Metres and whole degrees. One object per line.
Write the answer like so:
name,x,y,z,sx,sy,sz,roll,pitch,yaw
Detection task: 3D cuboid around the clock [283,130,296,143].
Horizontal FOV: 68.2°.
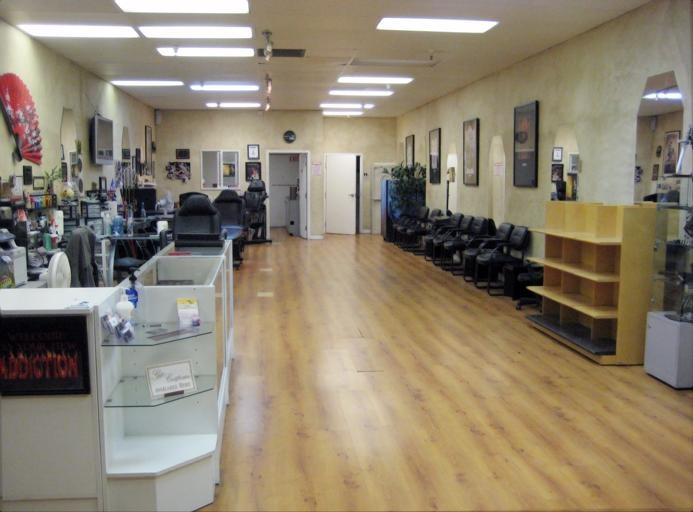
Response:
clock,-1.551,-3.242,13.951,0.330,0.361,0.063,-3,11,-17

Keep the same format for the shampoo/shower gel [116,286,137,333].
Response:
shampoo/shower gel,-1.393,0.351,3.210,0.109,0.296,0.109,1,10,-16

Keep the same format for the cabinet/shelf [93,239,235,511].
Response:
cabinet/shelf,-1.161,0.788,3.429,0.648,1.290,1.214,-2,11,-11

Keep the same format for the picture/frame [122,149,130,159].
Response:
picture/frame,-4.664,-2.151,10.832,0.090,0.241,0.539,-3,12,-15
